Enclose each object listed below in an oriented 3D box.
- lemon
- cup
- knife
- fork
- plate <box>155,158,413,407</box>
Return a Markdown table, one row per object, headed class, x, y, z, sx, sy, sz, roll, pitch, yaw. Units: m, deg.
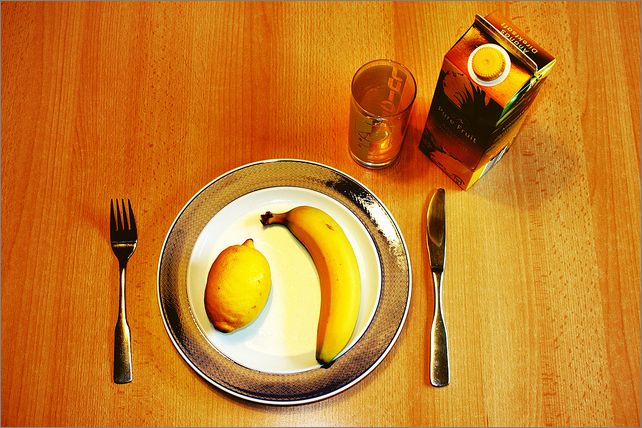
| class | x | y | z | sx | sy | sz | roll | pitch | yaw |
| --- | --- | --- | --- | --- | --- | --- | --- | --- | --- |
| lemon | -0.202 | 0.165 | 1.607 | 0.131 | 0.132 | 0.248 | 17 | 78 | -6 |
| cup | 0.146 | -0.233 | 1.664 | 0.119 | 0.223 | 0.146 | 24 | 61 | 12 |
| knife | 0.283 | 0.171 | 1.606 | 0.041 | 0.017 | 0.468 | 1 | 79 | -1 |
| fork | -0.478 | 0.153 | 1.635 | 0.050 | 0.047 | 0.529 | 0 | 83 | -1 |
| plate | -0.085 | 0.150 | 1.593 | 0.600 | 0.052 | 0.578 | 0 | 80 | -4 |
